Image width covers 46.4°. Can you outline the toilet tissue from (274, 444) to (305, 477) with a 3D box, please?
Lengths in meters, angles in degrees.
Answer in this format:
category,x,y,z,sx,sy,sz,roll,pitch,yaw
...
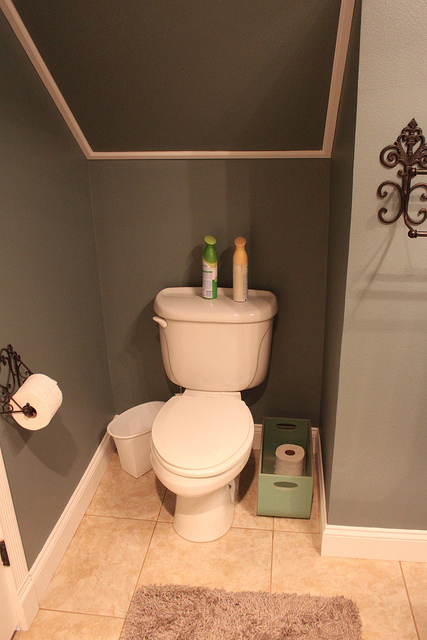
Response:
category,x,y,z,sx,sy,sz,roll,pitch,yaw
toilet tissue,0.278,0.511,1.835,0.097,0.099,0.101,9,25,24

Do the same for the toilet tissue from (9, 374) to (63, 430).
category,x,y,z,sx,sy,sz,roll,pitch,yaw
toilet tissue,-0.457,0.207,1.288,0.091,0.111,0.118,-5,24,4

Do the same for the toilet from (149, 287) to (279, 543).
category,x,y,z,sx,sy,sz,roll,pitch,yaw
toilet,-0.013,0.248,1.660,0.513,0.746,0.644,1,21,7
